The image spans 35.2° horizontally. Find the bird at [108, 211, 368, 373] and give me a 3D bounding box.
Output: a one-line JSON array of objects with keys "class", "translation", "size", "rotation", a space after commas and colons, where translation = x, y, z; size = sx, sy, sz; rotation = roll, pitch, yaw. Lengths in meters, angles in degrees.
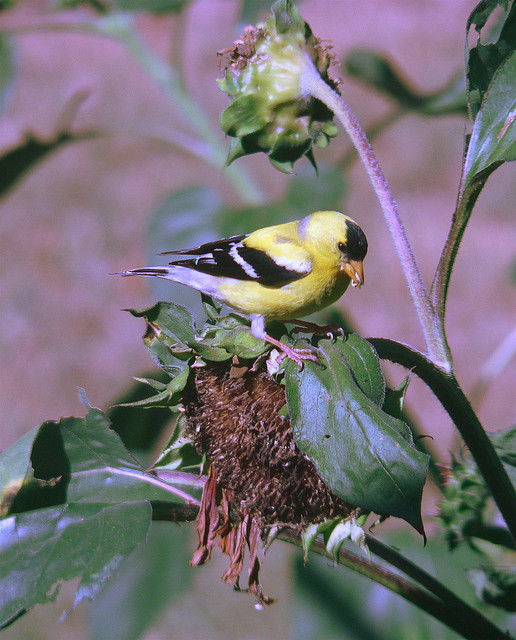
[{"class": "bird", "translation": [-0.023, -0.099, 1.708], "size": [0.567, 0.271, 0.243], "rotation": [11, 22, 26]}]
